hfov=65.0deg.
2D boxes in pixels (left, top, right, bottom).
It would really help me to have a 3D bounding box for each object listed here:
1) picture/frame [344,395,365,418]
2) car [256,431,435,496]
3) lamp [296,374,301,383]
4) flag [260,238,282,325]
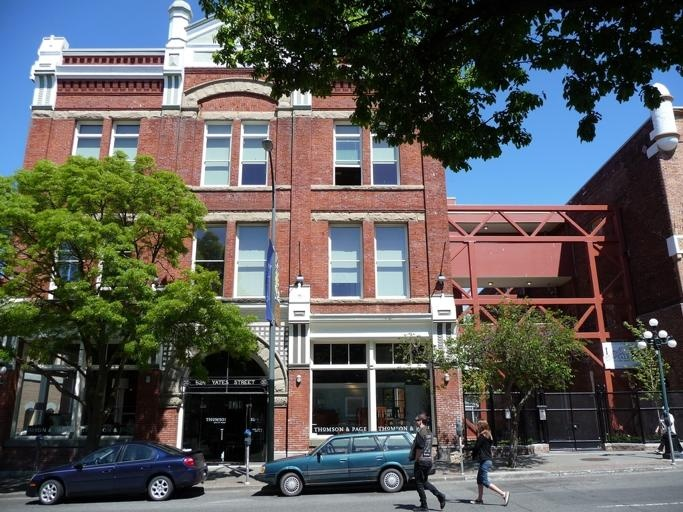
[{"bbox_3d":[0.491,6.164,21.865,0.907,0.806,0.061,2,-23,-5],"label":"picture/frame"},{"bbox_3d":[0.126,6.580,16.852,4.795,1.543,2.125,0,-26,1],"label":"car"},{"bbox_3d":[-1.727,4.903,21.300,0.257,0.419,0.249,3,-9,-17],"label":"lamp"},{"bbox_3d":[-2.505,0.784,19.025,0.264,3.436,0.799,-5,2,-35],"label":"flag"}]
